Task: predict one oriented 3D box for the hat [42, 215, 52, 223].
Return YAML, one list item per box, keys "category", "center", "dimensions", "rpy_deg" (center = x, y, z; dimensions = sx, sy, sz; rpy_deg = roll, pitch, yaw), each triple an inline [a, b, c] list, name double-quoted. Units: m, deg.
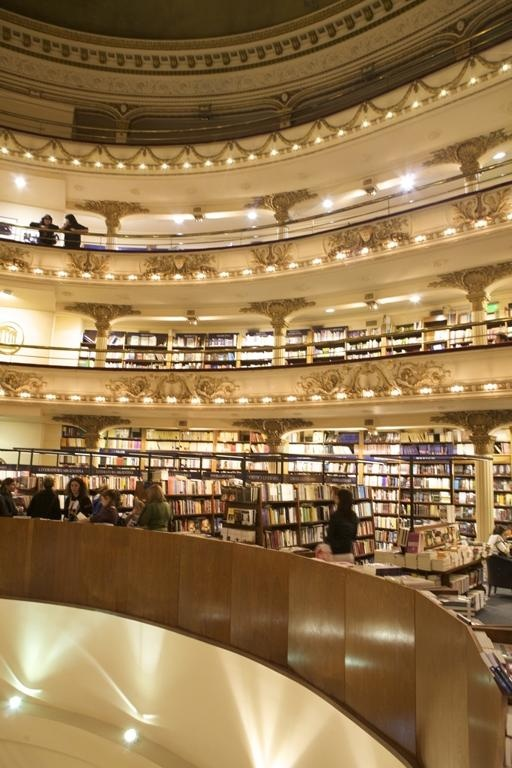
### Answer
- category: "hat"
  center: [-5.373, -4.187, 13.942]
  dimensions: [0.287, 0.089, 0.225]
  rpy_deg: [-12, -13, 37]
